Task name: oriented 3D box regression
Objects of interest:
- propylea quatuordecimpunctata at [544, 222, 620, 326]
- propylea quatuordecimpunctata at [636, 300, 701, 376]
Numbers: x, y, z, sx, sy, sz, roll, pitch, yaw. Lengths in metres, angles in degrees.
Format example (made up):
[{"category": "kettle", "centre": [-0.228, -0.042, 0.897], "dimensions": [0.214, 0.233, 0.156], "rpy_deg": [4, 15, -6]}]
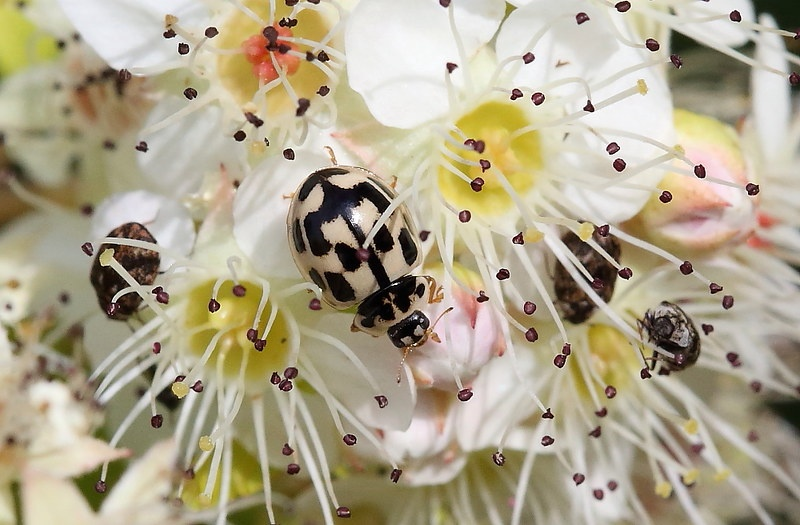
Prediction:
[{"category": "propylea quatuordecimpunctata", "centre": [0.383, 0.023, 1.758], "dimensions": [0.133, 0.172, 0.155], "rpy_deg": [7, 62, 13]}, {"category": "propylea quatuordecimpunctata", "centre": [0.578, 0.135, 1.796], "dimensions": [0.141, 0.076, 0.200], "rpy_deg": [27, 31, 35]}]
